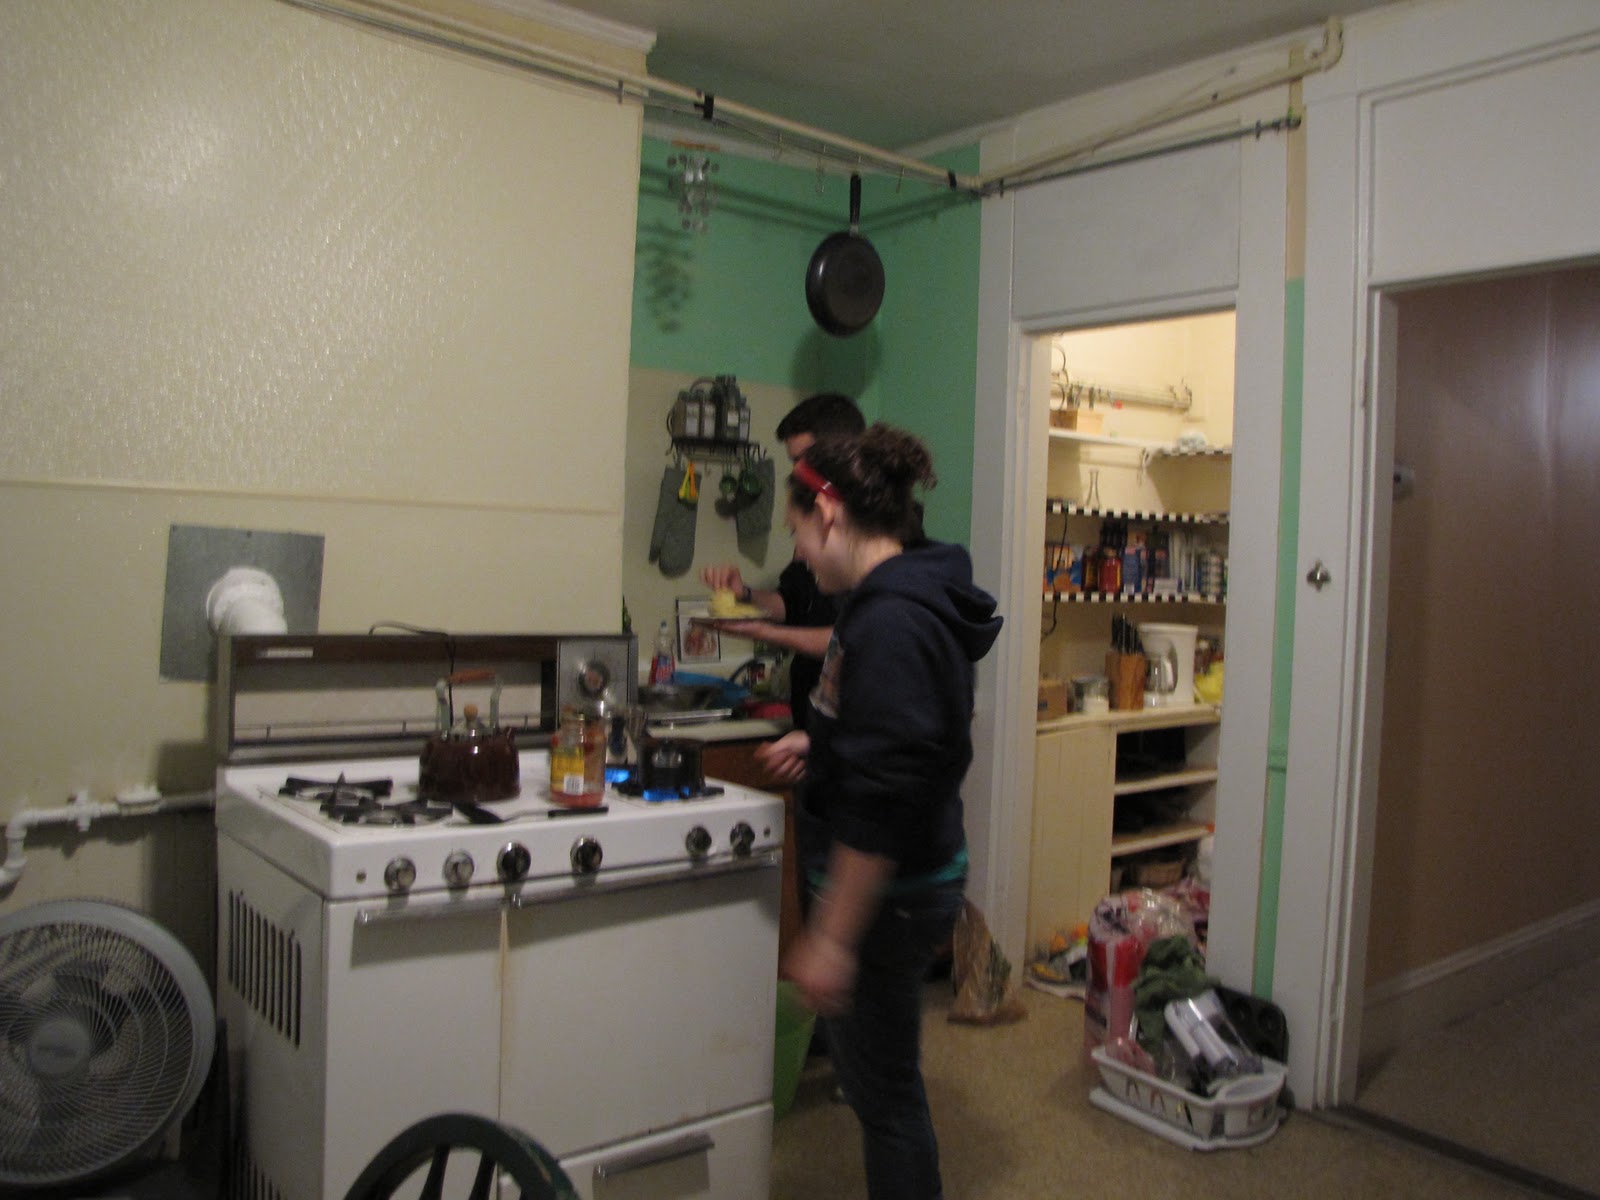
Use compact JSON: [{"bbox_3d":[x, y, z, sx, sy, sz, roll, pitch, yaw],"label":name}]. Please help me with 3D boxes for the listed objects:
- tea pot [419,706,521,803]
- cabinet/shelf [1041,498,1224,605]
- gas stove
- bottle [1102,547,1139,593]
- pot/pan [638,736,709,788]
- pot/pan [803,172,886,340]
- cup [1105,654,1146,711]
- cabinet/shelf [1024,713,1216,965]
[{"bbox_3d":[-0.791,0.363,2.931,0.171,0.175,0.186,0,1,0],"label":"tea pot"},{"bbox_3d":[1.534,-0.263,5.549,0.722,0.281,0.198,1,0,-9],"label":"cabinet/shelf"},{"bbox_3d":[-0.746,0.516,3.048,1.277,0.227,0.743,-6,12,-27],"label":"gas stove"},{"bbox_3d":[1.415,-0.129,5.438,0.137,0.176,0.234,7,12,39],"label":"bottle"},{"bbox_3d":[-0.304,0.377,3.017,0.117,0.130,0.117,2,0,-39],"label":"pot/pan"},{"bbox_3d":[0.162,-1.240,4.513,0.076,0.589,0.324,10,18,43],"label":"pot/pan"},{"bbox_3d":[1.425,0.342,5.291,0.233,0.237,0.158,-5,10,-24],"label":"cup"},{"bbox_3d":[1.291,0.933,5.096,0.934,0.914,0.327,-2,8,-23],"label":"cabinet/shelf"}]
